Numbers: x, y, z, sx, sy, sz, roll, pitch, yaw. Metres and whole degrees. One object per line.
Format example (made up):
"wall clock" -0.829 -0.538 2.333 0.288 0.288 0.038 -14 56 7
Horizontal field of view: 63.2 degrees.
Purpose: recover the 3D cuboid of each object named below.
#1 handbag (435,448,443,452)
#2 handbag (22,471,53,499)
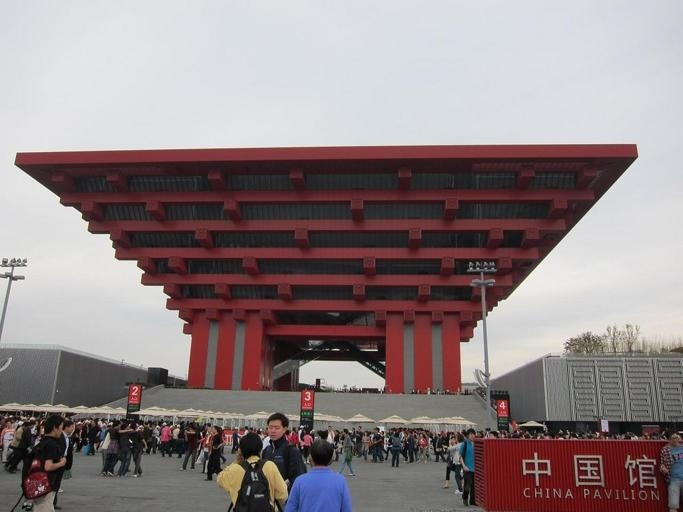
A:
"handbag" 4.951 9.760 27.582 0.471 0.174 0.350 3 -9 -11
"handbag" -4.845 3.686 8.846 0.415 0.428 0.318 10 -23 -24
